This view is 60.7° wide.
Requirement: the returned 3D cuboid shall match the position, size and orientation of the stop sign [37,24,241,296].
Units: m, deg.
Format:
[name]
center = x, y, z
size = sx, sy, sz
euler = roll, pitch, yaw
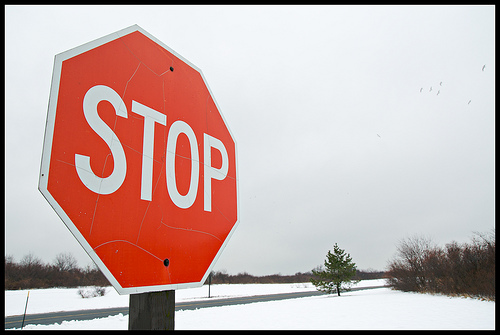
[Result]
[stop sign]
center = -0.588, -0.064, 2.565
size = 1.208, 1.583, 0.140
euler = 12, -18, -43
